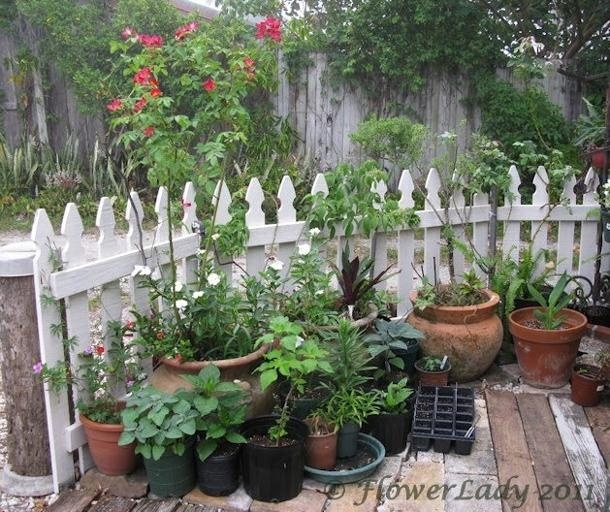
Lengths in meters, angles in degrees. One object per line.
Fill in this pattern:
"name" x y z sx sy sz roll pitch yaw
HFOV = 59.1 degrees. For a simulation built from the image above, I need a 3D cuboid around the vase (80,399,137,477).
"vase" -0.923 0.897 2.601 0.269 0.242 0.291 -3 -1 28
